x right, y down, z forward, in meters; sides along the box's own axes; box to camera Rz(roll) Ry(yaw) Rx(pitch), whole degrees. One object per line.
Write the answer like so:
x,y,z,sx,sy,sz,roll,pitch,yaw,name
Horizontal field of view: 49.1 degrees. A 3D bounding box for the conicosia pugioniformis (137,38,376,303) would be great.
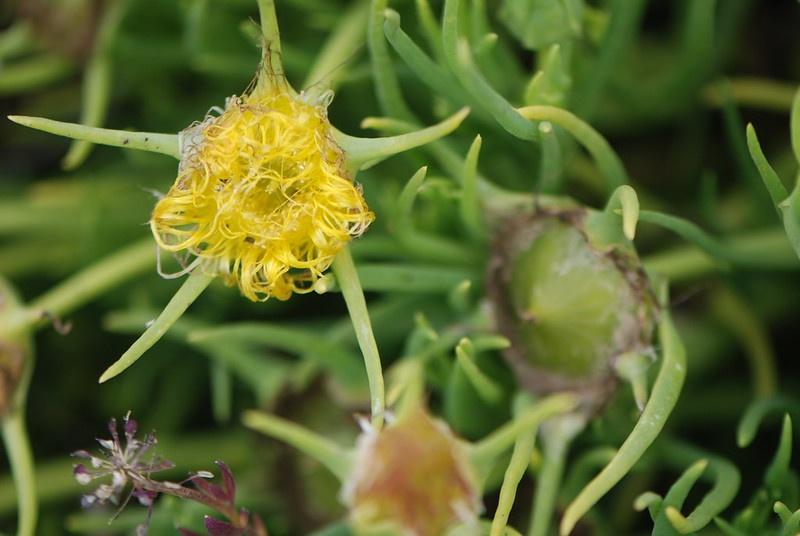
-0.143,-0.081,0.767,0.227,0.214,0.110,4,9,25,conicosia pugioniformis
